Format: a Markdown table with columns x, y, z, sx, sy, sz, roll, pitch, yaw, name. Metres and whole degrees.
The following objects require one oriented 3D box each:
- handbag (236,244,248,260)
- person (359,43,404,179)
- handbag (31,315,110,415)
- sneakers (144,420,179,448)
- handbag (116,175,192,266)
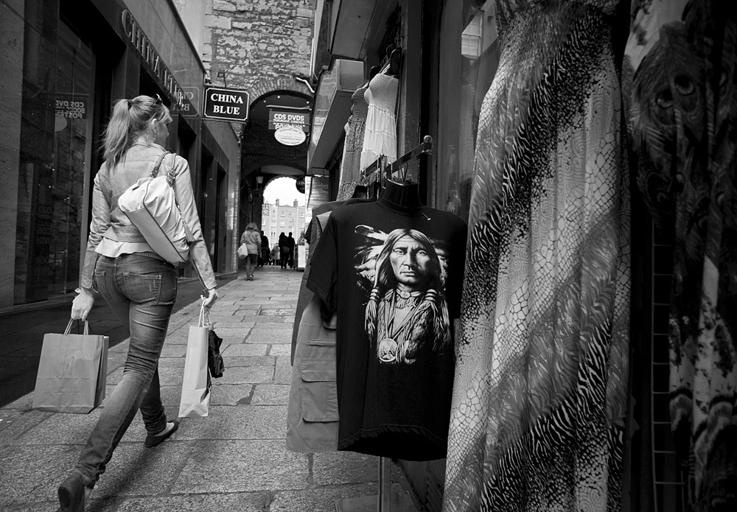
| x | y | z | sx | sy | sz | roll | pitch | yaw | name |
| --- | --- | --- | --- | --- | --- | --- | --- | --- | --- |
| -3.350 | -0.109 | 16.397 | 0.183 | 0.427 | 0.335 | 15 | -24 | -29 | handbag |
| 0.081 | -0.868 | 3.740 | 0.227 | 0.792 | 0.500 | 2 | 5 | 0 | person |
| -1.459 | 0.551 | 3.055 | 0.329 | 0.407 | 0.142 | 3 | 5 | 6 | handbag |
| -1.197 | 1.028 | 3.602 | 0.066 | 0.103 | 0.228 | 2 | 14 | 14 | sneakers |
| -1.040 | -0.167 | 3.023 | 0.336 | 0.441 | 0.197 | 0 | 5 | -23 | handbag |
